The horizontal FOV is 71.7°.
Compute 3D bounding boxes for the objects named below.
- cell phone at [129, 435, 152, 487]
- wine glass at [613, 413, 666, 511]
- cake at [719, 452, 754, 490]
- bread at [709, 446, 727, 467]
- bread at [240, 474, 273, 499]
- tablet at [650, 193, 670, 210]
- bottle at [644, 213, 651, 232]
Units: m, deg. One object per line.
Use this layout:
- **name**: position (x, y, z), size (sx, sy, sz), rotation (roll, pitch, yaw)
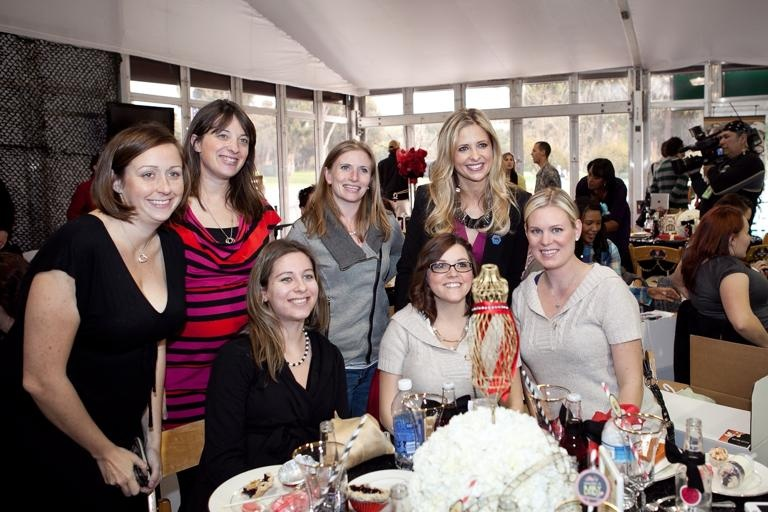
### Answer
- **cell phone**: position (-1.106, 0.933, 2.430), size (0.050, 0.298, 0.108), rotation (-9, -7, -21)
- **wine glass**: position (0.949, 0.767, 2.020), size (0.165, 0.303, 0.222), rotation (8, 13, 34)
- **cake**: position (1.406, 0.799, 2.117), size (0.111, 0.120, 0.188), rotation (1, 10, 36)
- **bread**: position (1.386, 0.831, 2.209), size (0.058, 0.038, 0.059), rotation (-3, 12, 11)
- **bread**: position (-0.496, 0.909, 2.118), size (0.064, 0.029, 0.085), rotation (-4, 14, 16)
- **tablet**: position (4.010, -0.764, 7.785), size (0.253, 0.248, 0.253), rotation (0, -6, 1)
- **bottle**: position (4.037, -0.506, 8.126), size (0.056, 0.239, 0.155), rotation (7, 2, 38)
